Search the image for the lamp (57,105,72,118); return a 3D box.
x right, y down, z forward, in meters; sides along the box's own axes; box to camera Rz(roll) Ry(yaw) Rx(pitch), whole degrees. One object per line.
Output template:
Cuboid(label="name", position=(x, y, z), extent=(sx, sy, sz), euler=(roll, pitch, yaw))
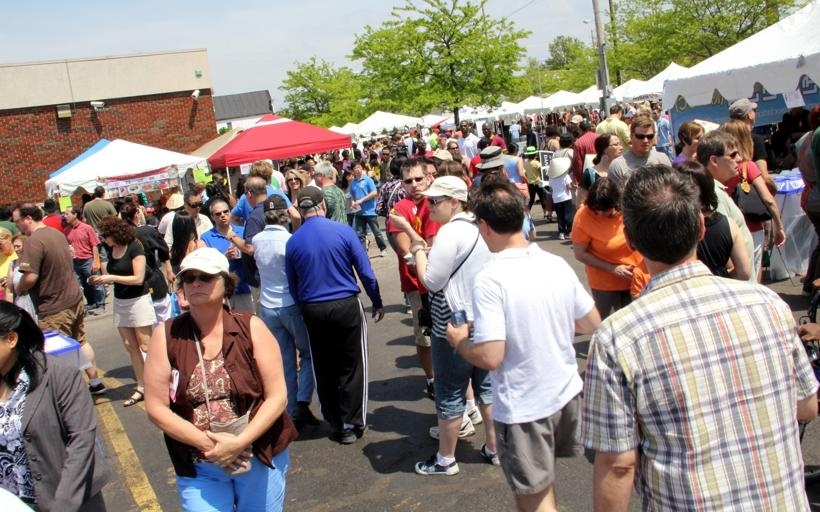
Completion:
Cuboid(label="lamp", position=(-14.472, -6.067, 26.181), extent=(0.511, 0.524, 0.366), euler=(-9, -5, -31))

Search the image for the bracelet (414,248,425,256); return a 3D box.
Cuboid(label="bracelet", position=(0.077, -0.035, 5.847), extent=(0.064, 0.049, 0.064), euler=(-7, -10, 44))

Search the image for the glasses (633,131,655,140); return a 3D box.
Cuboid(label="glasses", position=(2.632, -1.350, 7.014), extent=(0.206, 0.094, 0.106), euler=(-5, 9, 14))

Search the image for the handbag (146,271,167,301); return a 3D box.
Cuboid(label="handbag", position=(-3.117, 0.375, 7.659), extent=(0.256, 0.329, 0.188), euler=(-28, 16, -24))

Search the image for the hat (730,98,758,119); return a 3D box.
Cuboid(label="hat", position=(4.293, -1.901, 8.050), extent=(0.488, 0.194, 0.331), euler=(-26, 23, -34))

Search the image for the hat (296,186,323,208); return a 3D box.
Cuboid(label="hat", position=(-1.000, -0.588, 6.265), extent=(0.185, 0.146, 0.255), euler=(-1, 28, 15))

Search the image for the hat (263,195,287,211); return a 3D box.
Cuboid(label="hat", position=(-1.402, -0.559, 6.508), extent=(0.221, 0.165, 0.125), euler=(-10, 9, -19))

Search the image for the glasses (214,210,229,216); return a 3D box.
Cuboid(label="glasses", position=(-2.280, -0.520, 7.634), extent=(0.050, 0.064, 0.165), euler=(1, 12, 44))

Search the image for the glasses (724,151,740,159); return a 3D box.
Cuboid(label="glasses", position=(2.887, -0.897, 5.582), extent=(0.073, 0.051, 0.093), euler=(-1, -7, 22))
